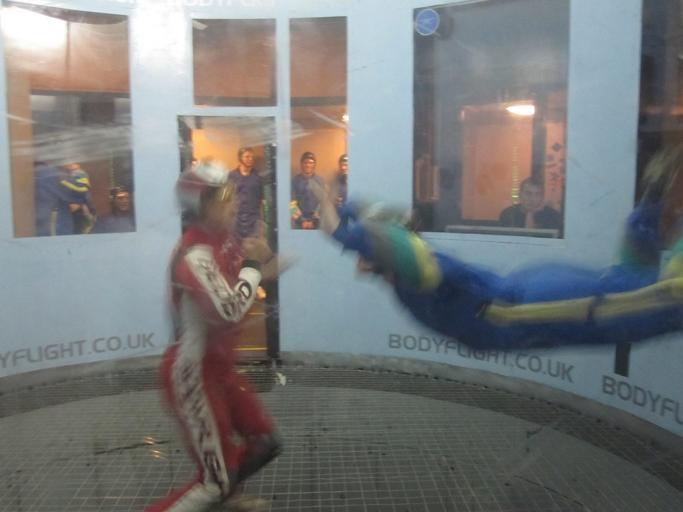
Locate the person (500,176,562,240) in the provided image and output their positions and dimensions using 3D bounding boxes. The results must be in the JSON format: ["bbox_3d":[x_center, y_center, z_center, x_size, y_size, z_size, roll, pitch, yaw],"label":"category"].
[{"bbox_3d":[2.348,-0.610,7.052,1.092,0.867,0.568,6,12,33],"label":"person"}]
